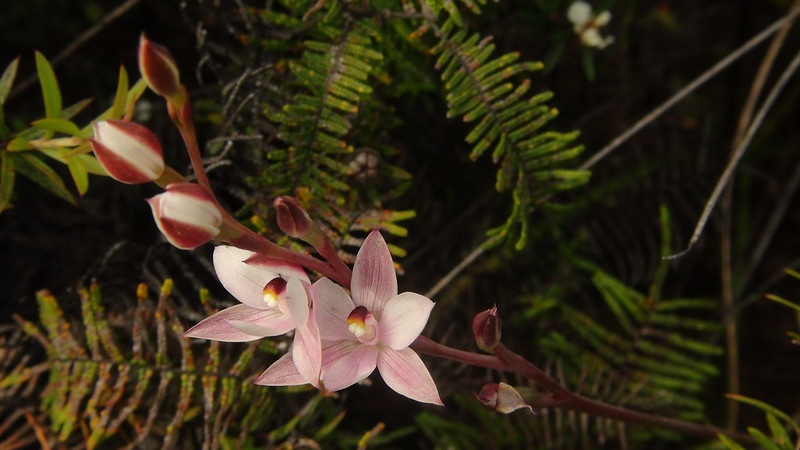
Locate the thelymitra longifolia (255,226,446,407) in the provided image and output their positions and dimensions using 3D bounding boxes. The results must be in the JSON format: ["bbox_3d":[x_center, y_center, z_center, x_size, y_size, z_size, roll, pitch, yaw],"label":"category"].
[{"bbox_3d":[-0.079,0.145,1.367,0.323,0.155,0.324,-5,68,23],"label":"thelymitra longifolia"}]

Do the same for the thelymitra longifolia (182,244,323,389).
[{"bbox_3d":[-0.245,0.158,1.369,0.253,0.201,0.116,13,32,10],"label":"thelymitra longifolia"}]
